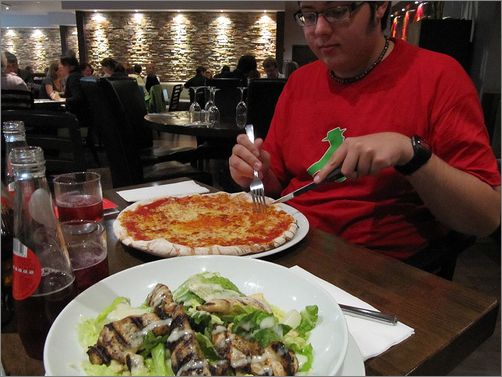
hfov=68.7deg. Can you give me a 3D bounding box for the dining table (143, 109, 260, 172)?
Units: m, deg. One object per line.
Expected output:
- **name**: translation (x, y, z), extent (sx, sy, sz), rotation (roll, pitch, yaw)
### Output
- **dining table**: translation (-0.529, -0.514, 3.529), extent (0.728, 0.266, 0.784), rotation (6, 26, 13)

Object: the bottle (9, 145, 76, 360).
- **bottle**: translation (-0.416, 0.132, 0.708), extent (0.108, 0.399, 0.108), rotation (-1, 24, 0)

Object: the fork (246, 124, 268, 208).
- **fork**: translation (0.013, -0.106, 1.483), extent (0.050, 0.047, 0.414), rotation (0, 57, -13)

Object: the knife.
- **knife**: translation (0.241, -0.007, 1.510), extent (0.313, 0.044, 0.026), rotation (-32, 11, 34)

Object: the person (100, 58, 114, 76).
- **person**: translation (-3.101, -2.635, 7.997), extent (0.260, 0.385, 0.710), rotation (-10, 27, -18)
